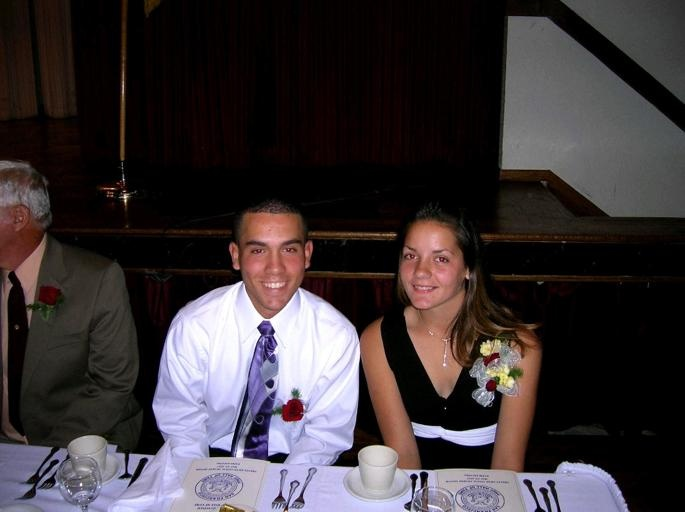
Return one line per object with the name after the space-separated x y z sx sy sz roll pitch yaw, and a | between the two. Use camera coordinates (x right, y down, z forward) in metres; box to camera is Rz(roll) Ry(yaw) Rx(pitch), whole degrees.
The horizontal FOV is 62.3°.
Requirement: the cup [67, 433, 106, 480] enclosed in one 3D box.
-1.012 0.771 2.267 0.151 0.146 0.170 -1 2 -13 | cup

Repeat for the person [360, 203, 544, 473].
0.552 0.420 2.914 0.934 1.347 0.453 4 11 4 | person

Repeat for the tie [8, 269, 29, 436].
-1.692 0.490 2.997 0.096 0.988 0.115 1 0 -12 | tie

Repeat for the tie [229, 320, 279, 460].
-0.425 0.654 2.720 0.217 0.656 0.258 1 11 -8 | tie

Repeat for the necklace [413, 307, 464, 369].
0.482 0.425 3.029 0.236 0.350 0.176 -2 -2 7 | necklace

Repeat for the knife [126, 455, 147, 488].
-0.829 0.869 2.279 0.030 0.007 0.126 3 27 4 | knife

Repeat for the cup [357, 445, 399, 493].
0.135 0.830 2.218 0.157 0.130 0.152 -1 10 0 | cup
